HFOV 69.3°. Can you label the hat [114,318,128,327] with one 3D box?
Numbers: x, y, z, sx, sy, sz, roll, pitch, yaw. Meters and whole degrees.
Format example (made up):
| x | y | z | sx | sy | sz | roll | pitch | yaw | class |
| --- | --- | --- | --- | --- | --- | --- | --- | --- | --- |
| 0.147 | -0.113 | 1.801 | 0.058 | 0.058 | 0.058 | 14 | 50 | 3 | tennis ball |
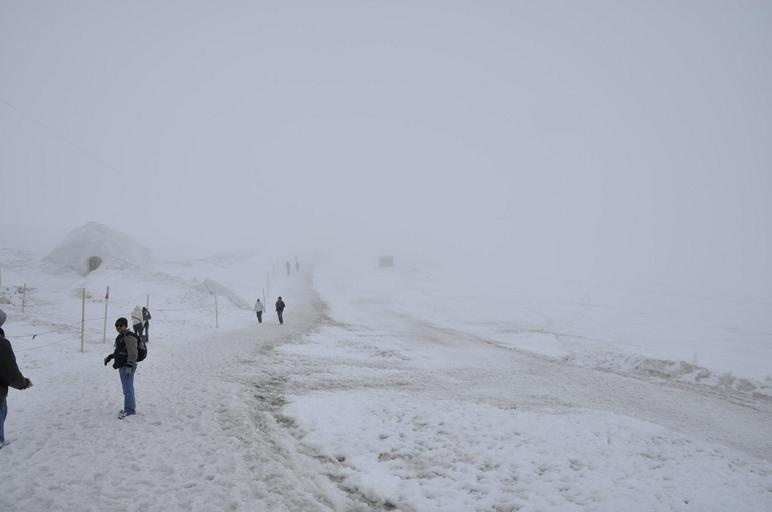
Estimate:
| x | y | z | sx | sy | sz | roll | pitch | yaw | class |
| --- | --- | --- | --- | --- | --- | --- | --- | --- | --- |
| -10.380 | 2.654 | 21.834 | 0.356 | 0.412 | 0.445 | 2 | -8 | -18 | hat |
